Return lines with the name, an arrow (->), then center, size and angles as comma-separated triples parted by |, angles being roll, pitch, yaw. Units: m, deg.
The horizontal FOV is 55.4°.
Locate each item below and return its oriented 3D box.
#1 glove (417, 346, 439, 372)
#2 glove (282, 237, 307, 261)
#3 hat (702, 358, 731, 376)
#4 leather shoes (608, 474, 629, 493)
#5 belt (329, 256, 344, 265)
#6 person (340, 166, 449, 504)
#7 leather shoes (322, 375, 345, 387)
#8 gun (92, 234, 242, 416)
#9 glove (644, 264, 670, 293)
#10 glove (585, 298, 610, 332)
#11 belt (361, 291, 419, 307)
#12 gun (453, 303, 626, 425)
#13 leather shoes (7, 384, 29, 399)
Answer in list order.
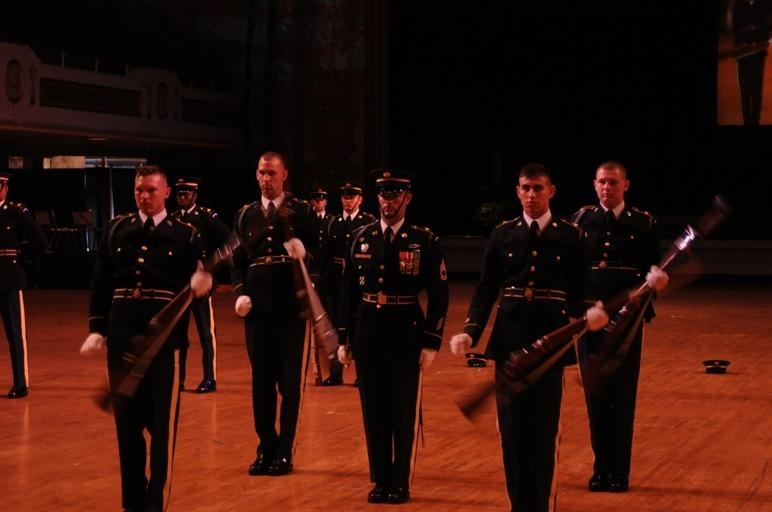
glove -> 0.342, 0.835, 6.093 | 0.127, 0.193, 0.214 | 5, 6, 5
glove -> -0.803, -0.066, 6.580 | 0.211, 0.068, 0.166 | 51, 27, 23
hat -> 4.680, 1.559, 10.433 | 0.335, 0.165, 0.495 | 7, 6, 22
leather shoes -> 1.992, 1.936, 6.295 | 0.156, 0.103, 0.146 | 1, -8, -6
belt -> -0.673, 0.062, 10.327 | 0.219, 0.074, 0.162 | -1, -1, 7
person -> 0.026, 0.662, 6.120 | 0.901, 2.732, 0.437 | 6, 6, 11
leather shoes -> -0.707, 1.686, 9.881 | 0.317, 0.122, 0.109 | 3, -8, -9
gun -> -1.787, 0.686, 5.498 | 0.684, 0.933, 0.233 | 2, 7, -25
glove -> 2.215, 0.191, 6.032 | 0.177, 0.211, 0.077 | -10, -12, -15
glove -> 1.535, 0.436, 5.409 | 0.195, 0.237, 0.088 | -1, -5, -20
belt -> 0.029, 0.354, 6.082 | 0.464, 0.119, 0.169 | 4, 6, -2
gun -> 1.096, 0.744, 5.590 | 0.492, 0.300, 1.996 | -37, 19, -22
leather shoes -> -4.510, 1.673, 9.042 | 0.248, 0.139, 0.123 | 4, -1, -5
